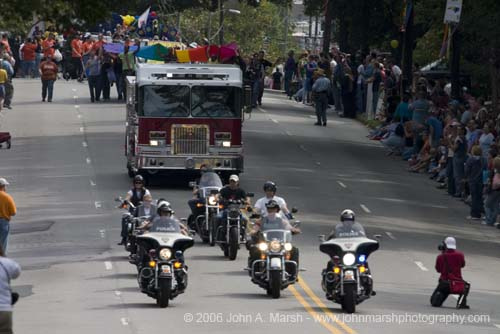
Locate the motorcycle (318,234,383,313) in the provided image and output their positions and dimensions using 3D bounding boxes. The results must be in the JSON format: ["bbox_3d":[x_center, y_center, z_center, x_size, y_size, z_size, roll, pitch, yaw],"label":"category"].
[{"bbox_3d":[2.986,3.372,37.494,1.608,2.309,0.840,2,10,3],"label":"motorcycle"}]

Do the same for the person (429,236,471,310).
[{"bbox_3d":[6.238,3.442,38.043,1.193,2.225,0.530,3,11,10],"label":"person"}]

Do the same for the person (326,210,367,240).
[{"bbox_3d":[2.958,1.954,38.040,0.810,1.087,0.437,1,4,2],"label":"person"}]

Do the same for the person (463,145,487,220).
[{"bbox_3d":[8.559,0.706,46.974,0.944,2.873,0.867,0,-2,-19],"label":"person"}]

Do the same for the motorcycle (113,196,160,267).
[{"bbox_3d":[-3.750,2.058,40.367,1.402,1.344,2.343,13,1,-8],"label":"motorcycle"}]

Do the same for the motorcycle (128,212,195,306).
[{"bbox_3d":[-2.682,2.965,37.657,1.517,2.787,1.033,1,10,-4],"label":"motorcycle"}]

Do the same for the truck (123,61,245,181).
[{"bbox_3d":[-2.604,-1.713,48.856,4.483,4.517,8.946,0,1,-5],"label":"truck"}]

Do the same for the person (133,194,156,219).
[{"bbox_3d":[-3.569,1.439,40.673,0.680,1.275,0.395,1,-6,-4],"label":"person"}]

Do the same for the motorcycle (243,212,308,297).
[{"bbox_3d":[0.745,2.887,38.563,1.692,2.580,1.170,2,10,6],"label":"motorcycle"}]

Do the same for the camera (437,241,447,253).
[{"bbox_3d":[5.933,2.618,38.130,0.142,0.390,0.376,1,-2,24],"label":"camera"}]
